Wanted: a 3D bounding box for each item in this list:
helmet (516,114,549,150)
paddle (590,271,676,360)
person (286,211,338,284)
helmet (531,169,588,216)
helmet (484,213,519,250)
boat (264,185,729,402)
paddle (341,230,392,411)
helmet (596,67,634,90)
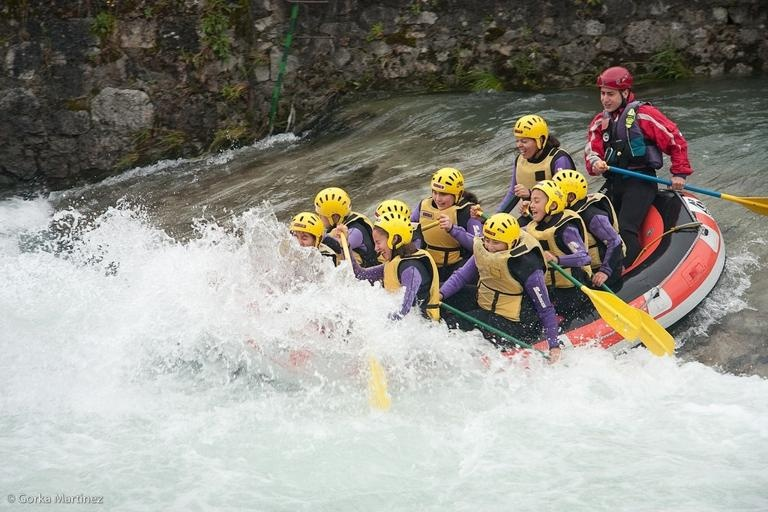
[{"bbox_3d":[1.964,-1.742,10.113,0.544,0.426,0.395,1,3,-30],"label":"helmet"},{"bbox_3d":[2.860,0.695,8.858,1.512,0.434,0.205,40,14,26],"label":"paddle"},{"bbox_3d":[-0.853,-0.165,9.118,0.580,0.700,0.745,-12,19,-21],"label":"person"},{"bbox_3d":[2.281,-0.829,9.359,0.764,0.489,0.485,11,-4,-14],"label":"helmet"},{"bbox_3d":[1.390,-0.294,8.545,0.485,0.386,0.353,-11,20,-39],"label":"helmet"},{"bbox_3d":[1.372,0.554,8.968,3.425,0.624,1.869,-20,40,-5],"label":"boat"},{"bbox_3d":[-0.334,0.716,8.861,0.390,2.405,0.179,-34,-34,25],"label":"paddle"},{"bbox_3d":[3.167,-2.441,10.028,0.396,0.286,0.501,3,18,20],"label":"helmet"}]
